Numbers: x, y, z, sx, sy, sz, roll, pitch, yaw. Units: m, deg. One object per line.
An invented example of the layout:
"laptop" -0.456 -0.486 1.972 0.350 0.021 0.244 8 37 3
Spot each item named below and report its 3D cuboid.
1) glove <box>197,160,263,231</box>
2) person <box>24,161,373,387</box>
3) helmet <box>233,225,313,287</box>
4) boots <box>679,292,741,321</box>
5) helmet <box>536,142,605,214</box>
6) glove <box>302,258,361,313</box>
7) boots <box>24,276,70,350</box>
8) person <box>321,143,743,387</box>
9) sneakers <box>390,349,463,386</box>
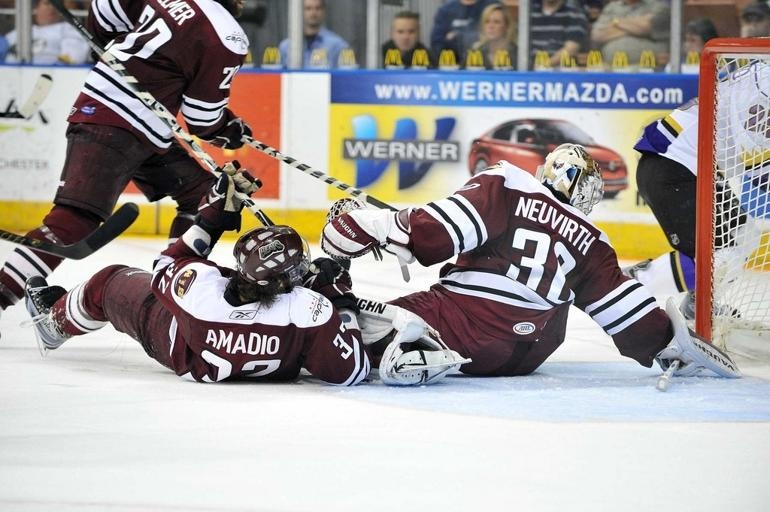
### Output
"glove" -0.681 -0.257 4.079 0.145 0.344 0.198 51 3 12
"person" -0.695 0.057 4.246 1.399 0.932 0.718 14 18 28
"helmet" -0.438 -0.014 3.852 0.265 0.208 0.213 -26 28 -20
"boots" 1.561 0.240 4.683 0.203 0.093 0.232 -3 5 -35
"helmet" 0.789 -0.350 4.244 0.241 0.300 0.292 15 -29 -8
"glove" -0.246 0.137 4.054 0.196 0.116 0.239 -7 51 -39
"boots" -1.479 0.247 4.372 0.182 0.419 0.145 -24 -34 29
"person" 0.599 0.066 4.046 1.205 0.633 1.202 26 18 33
"sneakers" 0.201 0.437 4.008 0.382 0.125 0.118 -1 32 -24
